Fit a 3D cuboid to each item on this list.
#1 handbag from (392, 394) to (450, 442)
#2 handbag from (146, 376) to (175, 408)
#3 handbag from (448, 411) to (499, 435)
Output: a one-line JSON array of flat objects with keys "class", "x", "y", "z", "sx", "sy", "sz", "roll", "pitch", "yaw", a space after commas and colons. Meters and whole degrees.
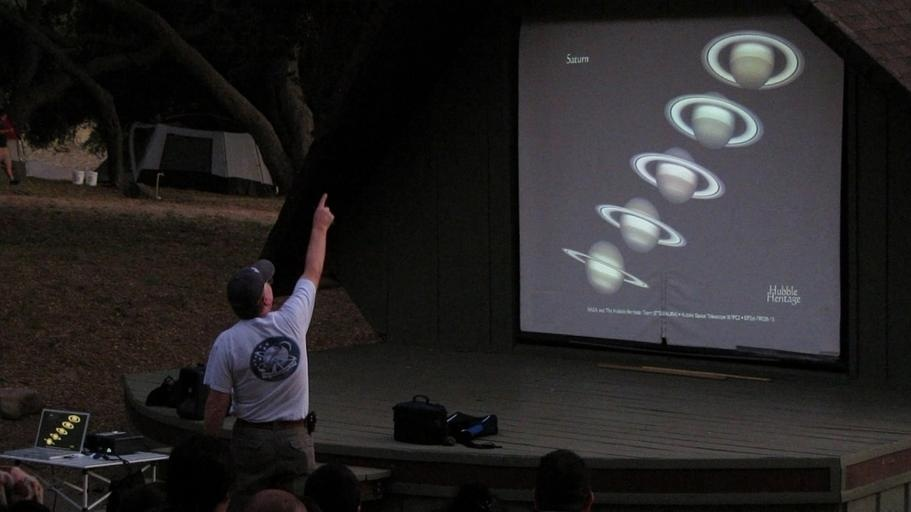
[{"class": "handbag", "x": -0.510, "y": 2.157, "z": 14.316, "sx": 0.750, "sy": 0.552, "sz": 0.536, "roll": 1, "pitch": 0, "yaw": 27}, {"class": "handbag", "x": -4.119, "y": 1.918, "z": 15.477, "sx": 0.403, "sy": 0.384, "sz": 0.275, "roll": -4, "pitch": 14, "yaw": -15}, {"class": "handbag", "x": 0.240, "y": 2.231, "z": 14.416, "sx": 0.649, "sy": 0.247, "sz": 0.360, "roll": 0, "pitch": 13, "yaw": 0}]
